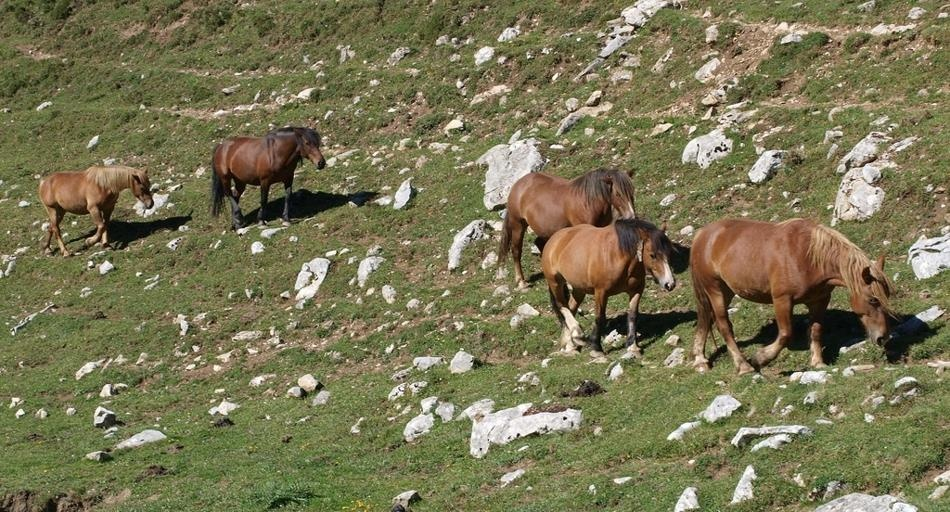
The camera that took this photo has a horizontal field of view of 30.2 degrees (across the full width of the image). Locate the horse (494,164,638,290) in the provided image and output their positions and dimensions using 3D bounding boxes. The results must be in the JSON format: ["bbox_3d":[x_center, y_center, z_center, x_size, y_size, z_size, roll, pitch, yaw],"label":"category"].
[{"bbox_3d":[4.479,-1.287,83.441,10.070,5.908,2.848,13,31,38],"label":"horse"}]

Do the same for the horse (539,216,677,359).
[{"bbox_3d":[6.210,1.201,81.777,5.782,5.784,2.375,-14,21,11],"label":"horse"}]

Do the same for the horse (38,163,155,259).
[{"bbox_3d":[-20.293,-2.876,93.507,6.032,4.037,1.887,-16,20,3],"label":"horse"}]
